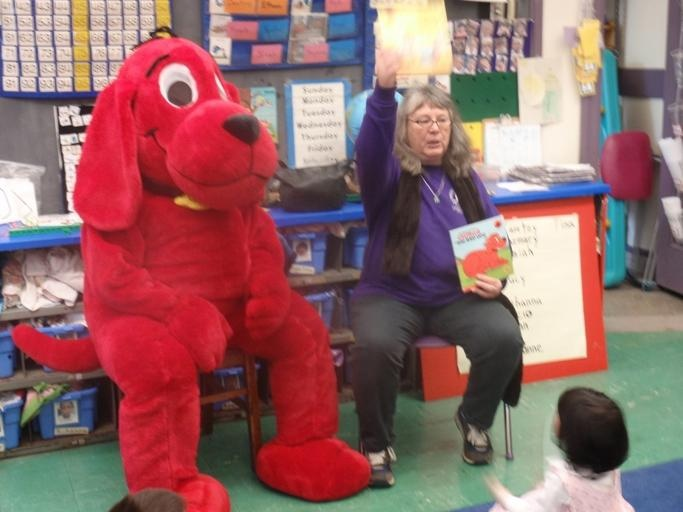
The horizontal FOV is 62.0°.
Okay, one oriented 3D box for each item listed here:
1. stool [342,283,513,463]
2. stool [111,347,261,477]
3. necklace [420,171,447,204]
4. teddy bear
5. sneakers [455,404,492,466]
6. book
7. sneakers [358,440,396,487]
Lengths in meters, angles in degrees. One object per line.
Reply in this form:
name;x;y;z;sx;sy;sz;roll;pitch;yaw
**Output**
stool;0.438;0.553;2.930;0.754;0.733;0.766;-1;9;-3
stool;-0.618;0.691;2.776;0.352;0.571;0.372;-9;-2;-24
necklace;0.472;-0.341;2.831;0.053;0.133;0.138;-12;3;22
teddy bear;-0.500;0.112;2.294;0.969;1.983;0.521;-9;11;-27
sneakers;0.625;0.862;2.822;0.118;0.305;0.121;-8;-30;-12
book;0.683;-0.010;2.705;0.333;0.346;0.104;-8;11;-26
sneakers;0.162;0.964;2.652;0.089;0.119;0.272;0;4;-12
